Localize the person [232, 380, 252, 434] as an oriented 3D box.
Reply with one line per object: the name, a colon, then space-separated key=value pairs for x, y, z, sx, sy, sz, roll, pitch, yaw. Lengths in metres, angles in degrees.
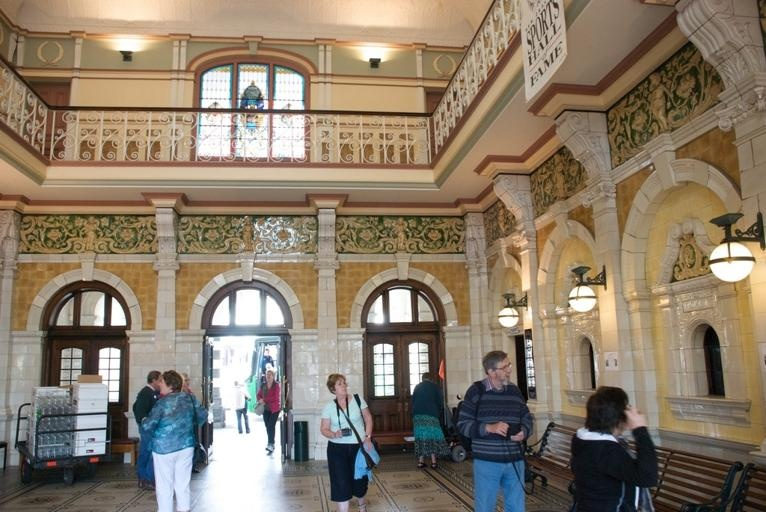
person: x=-4.240 y=4.456 z=15.906 sx=0.487 sy=1.478 sz=1.221 roll=1 pitch=-13 yaw=-15

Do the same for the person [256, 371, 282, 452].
person: x=-2.629 y=3.500 z=12.177 sx=0.515 sy=1.841 sz=1.252 roll=1 pitch=-13 yaw=-14

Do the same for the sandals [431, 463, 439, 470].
sandals: x=0.971 y=3.959 z=10.074 sx=0.167 sy=0.072 sz=0.056 roll=1 pitch=-2 yaw=-41

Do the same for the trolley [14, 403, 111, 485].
trolley: x=-5.970 y=3.282 z=10.124 sx=1.214 sy=1.452 sz=1.668 roll=5 pitch=8 yaw=-35

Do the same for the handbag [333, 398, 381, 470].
handbag: x=-0.252 y=2.255 z=7.003 sx=0.563 sy=0.964 sz=0.256 roll=-21 pitch=-10 yaw=25

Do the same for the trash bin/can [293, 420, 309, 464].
trash bin/can: x=-1.700 y=3.830 z=11.090 sx=0.329 sy=0.792 sz=0.201 roll=2 pitch=-13 yaw=-18

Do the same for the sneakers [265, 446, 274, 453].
sneakers: x=-2.509 y=4.220 z=11.703 sx=0.160 sy=0.112 sz=0.101 roll=21 pitch=-37 yaw=-5

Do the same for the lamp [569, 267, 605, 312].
lamp: x=3.083 y=0.473 z=7.970 sx=0.537 sy=0.699 sz=1.060 roll=-7 pitch=-13 yaw=21

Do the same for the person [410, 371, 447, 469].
person: x=0.869 y=3.099 z=10.132 sx=0.586 sy=1.752 sz=0.436 roll=-3 pitch=-13 yaw=5

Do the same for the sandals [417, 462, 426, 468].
sandals: x=0.720 y=3.986 z=10.163 sx=0.084 sy=0.070 sz=0.160 roll=9 pitch=-21 yaw=-20

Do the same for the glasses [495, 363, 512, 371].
glasses: x=1.303 y=1.169 z=5.678 sx=0.103 sy=0.087 sz=0.313 roll=-8 pitch=-14 yaw=27

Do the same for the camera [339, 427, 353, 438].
camera: x=-0.476 y=2.228 z=6.762 sx=0.143 sy=0.104 sz=0.067 roll=-1 pitch=-13 yaw=-5

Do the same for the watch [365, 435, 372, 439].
watch: x=-0.196 y=2.310 z=6.827 sx=0.043 sy=0.042 sz=0.039 roll=-2 pitch=-4 yaw=3
